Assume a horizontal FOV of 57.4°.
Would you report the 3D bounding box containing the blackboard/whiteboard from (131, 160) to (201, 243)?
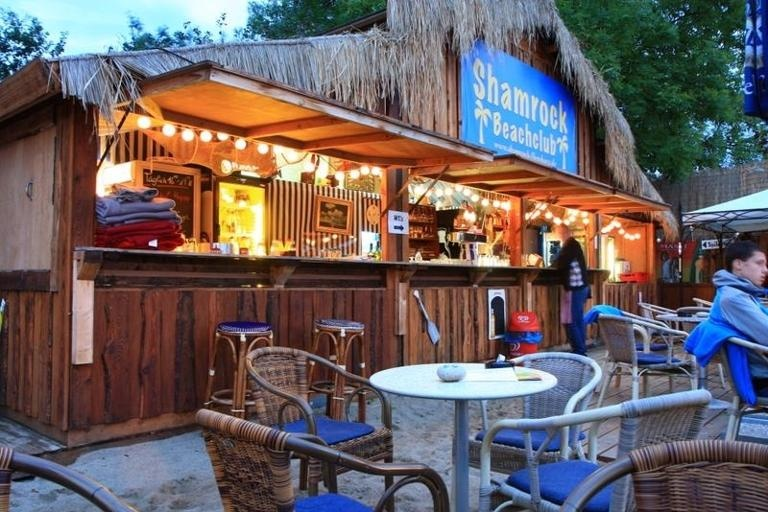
[{"bbox_3d":[-3.477,-0.939,11.583,0.187,1.210,0.977,-4,-4,39],"label":"blackboard/whiteboard"}]
